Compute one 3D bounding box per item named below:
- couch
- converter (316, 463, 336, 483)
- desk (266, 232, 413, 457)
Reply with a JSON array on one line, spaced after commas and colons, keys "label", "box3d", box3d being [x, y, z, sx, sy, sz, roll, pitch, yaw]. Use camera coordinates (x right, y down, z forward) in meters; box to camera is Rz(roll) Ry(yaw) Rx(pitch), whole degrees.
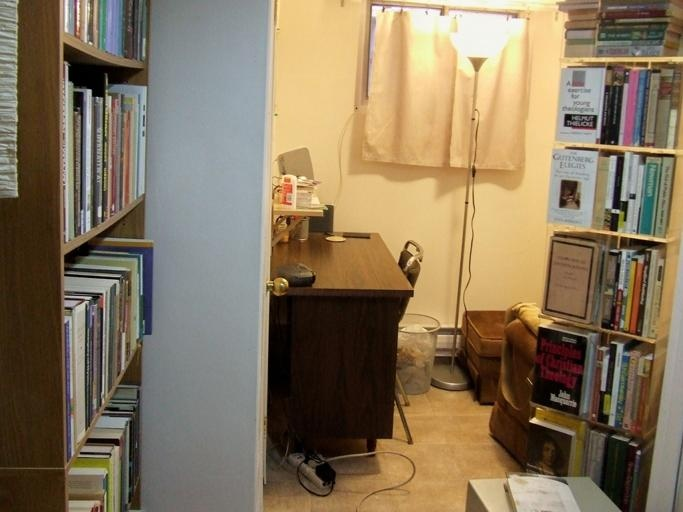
[{"label": "couch", "box3d": [0.930, 0.652, 3.194, 0.580, 0.585, 0.603, 4, 8, 22]}, {"label": "converter", "box3d": [-0.077, 1.058, 2.797, 0.097, 0.086, 0.109, 2, 14, -3]}, {"label": "desk", "box3d": [-0.040, 0.484, 3.223, 0.721, 1.003, 0.869, 1, 14, -7]}]
